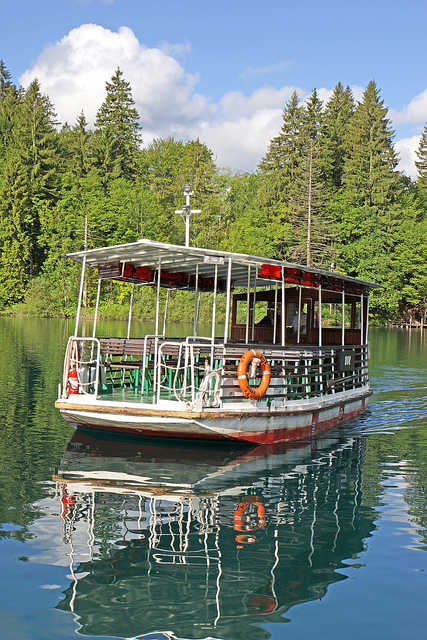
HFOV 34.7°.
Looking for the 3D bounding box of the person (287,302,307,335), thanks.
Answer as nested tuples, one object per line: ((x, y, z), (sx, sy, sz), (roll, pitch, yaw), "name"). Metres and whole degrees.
((1.995, -0.015, 16.099), (0.528, 0.675, 0.175), (-1, -3, 39), "person")

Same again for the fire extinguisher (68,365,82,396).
((-2.293, 1.028, 11.265), (0.180, 0.390, 0.260), (2, 3, -12), "fire extinguisher")

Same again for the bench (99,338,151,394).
((-1.905, 0.903, 13.899), (1.316, 0.793, 0.514), (3, 14, 32), "bench")
